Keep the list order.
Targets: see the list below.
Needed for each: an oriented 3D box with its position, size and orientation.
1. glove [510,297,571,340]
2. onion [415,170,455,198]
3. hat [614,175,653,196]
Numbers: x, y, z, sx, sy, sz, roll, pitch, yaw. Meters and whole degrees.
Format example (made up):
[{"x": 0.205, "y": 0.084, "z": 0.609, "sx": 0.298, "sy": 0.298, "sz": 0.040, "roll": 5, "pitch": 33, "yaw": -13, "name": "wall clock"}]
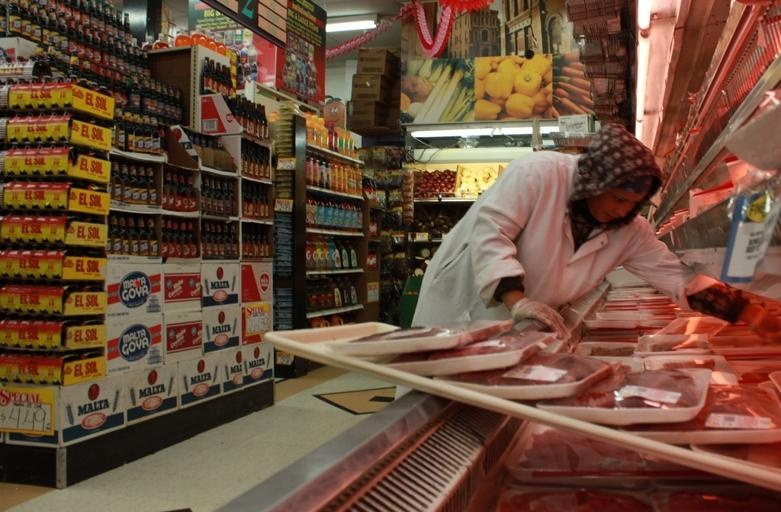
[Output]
[{"x": 0.507, "y": 0.201, "z": 1.818, "sx": 0.157, "sy": 0.123, "sz": 0.181, "roll": 4, "pitch": 5, "yaw": 31, "name": "glove"}, {"x": 0.763, "y": -1.220, "z": 8.953, "sx": 0.525, "sy": 0.567, "sz": 0.154, "roll": -1, "pitch": -36, "yaw": 5, "name": "onion"}, {"x": 0.929, "y": -0.268, "z": 2.028, "sx": 0.076, "sy": 0.080, "sz": 0.101, "roll": 3, "pitch": 10, "yaw": -24, "name": "hat"}]
